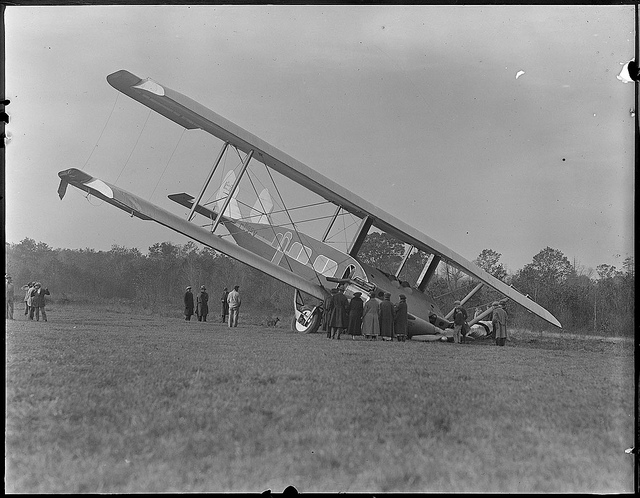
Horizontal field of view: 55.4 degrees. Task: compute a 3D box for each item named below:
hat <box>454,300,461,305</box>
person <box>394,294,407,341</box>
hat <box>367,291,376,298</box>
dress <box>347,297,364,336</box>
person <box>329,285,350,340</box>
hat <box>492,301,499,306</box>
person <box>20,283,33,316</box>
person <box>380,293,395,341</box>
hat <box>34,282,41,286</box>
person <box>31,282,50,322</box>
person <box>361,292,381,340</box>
[{"bbox_3d":[3.687,1.438,16.343,0.152,0.097,0.342,5,14,11],"label":"hat"},{"bbox_3d":[2.034,1.744,15.338,0.309,0.996,0.561,5,13,15],"label":"person"},{"bbox_3d":[1.276,1.163,15.340,0.169,0.169,0.428,3,13,3],"label":"hat"},{"bbox_3d":[0.877,1.669,15.109,0.380,0.923,0.308,3,12,4],"label":"dress"},{"bbox_3d":[0.479,1.669,15.054,0.496,1.103,0.453,1,12,-7],"label":"person"},{"bbox_3d":[4.658,1.456,16.190,0.102,0.117,0.171,-20,-10,35],"label":"hat"},{"bbox_3d":[-9.157,1.600,19.004,0.347,1.367,0.964,1,1,-19],"label":"person"},{"bbox_3d":[1.652,1.773,15.183,0.372,0.918,0.395,3,12,5],"label":"person"},{"bbox_3d":[-8.130,1.021,17.533,0.168,0.076,0.334,-5,15,-29],"label":"hat"},{"bbox_3d":[-8.107,1.606,17.669,0.444,1.275,1.292,-4,14,-26],"label":"person"},{"bbox_3d":[1.225,1.687,15.230,0.571,1.290,0.601,4,-6,-17],"label":"person"}]
